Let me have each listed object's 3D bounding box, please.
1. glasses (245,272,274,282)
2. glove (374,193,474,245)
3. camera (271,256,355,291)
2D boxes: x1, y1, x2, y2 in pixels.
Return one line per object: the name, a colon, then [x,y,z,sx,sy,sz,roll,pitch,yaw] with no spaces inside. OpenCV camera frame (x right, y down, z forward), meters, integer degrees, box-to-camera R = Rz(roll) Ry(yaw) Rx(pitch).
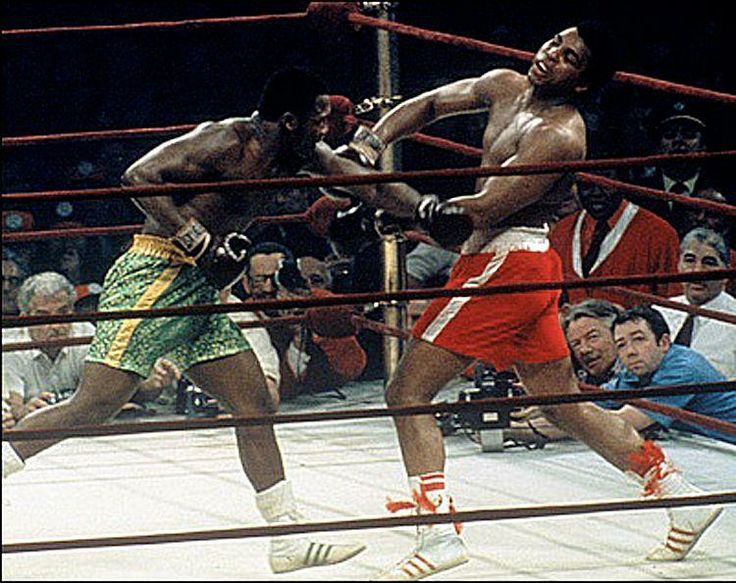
glasses: [-0.598,-0.079,5.093,0.117,0.037,0.065,1,7,-2]
glove: [0.204,-0.248,3.270,0.228,0.067,0.244,-7,3,-15]
camera: [-0.311,-0.095,5.209,0.354,0.129,0.222,-1,-2,-24]
